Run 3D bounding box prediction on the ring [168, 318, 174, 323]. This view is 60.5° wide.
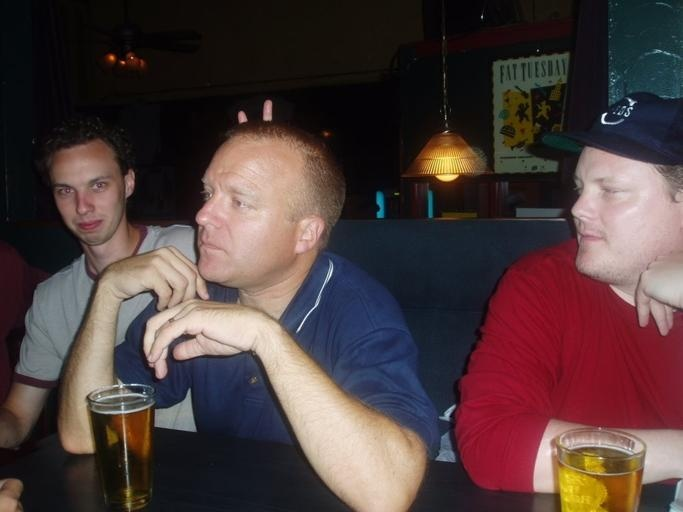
[{"bbox_3d":[-0.478,0.181,1.642,0.015,0.008,0.020,-2,1,-29],"label":"ring"}]
